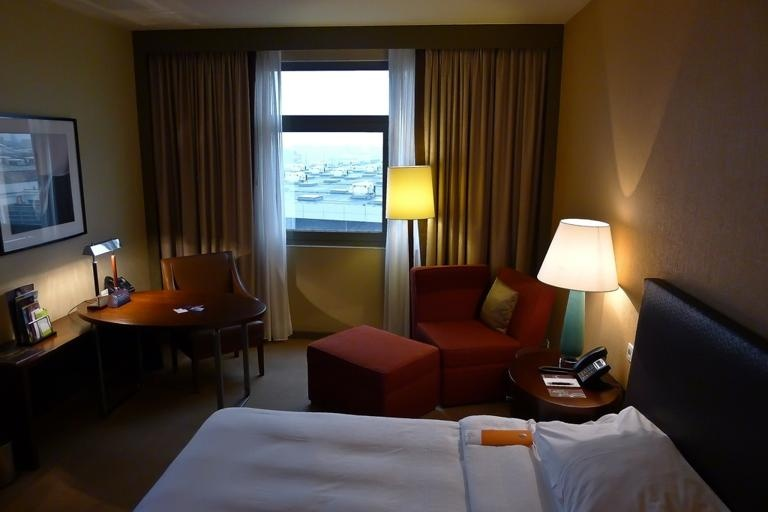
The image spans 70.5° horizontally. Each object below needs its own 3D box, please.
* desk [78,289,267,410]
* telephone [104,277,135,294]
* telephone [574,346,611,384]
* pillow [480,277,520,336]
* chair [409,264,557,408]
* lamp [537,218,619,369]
[{"bbox_3d":[-1.627,0.462,4.553,1.496,0.792,0.921,2,10,14],"label":"desk"},{"bbox_3d":[-2.334,0.259,4.781,0.217,0.146,0.168,-4,22,-22],"label":"telephone"},{"bbox_3d":[1.533,0.787,3.885,0.089,0.270,0.192,32,33,-36],"label":"telephone"},{"bbox_3d":[1.076,0.479,4.953,0.199,0.342,0.388,-10,24,-17],"label":"pillow"},{"bbox_3d":[0.773,0.627,5.223,1.284,1.400,1.192,1,2,-4],"label":"chair"},{"bbox_3d":[1.438,0.088,3.951,0.526,0.963,0.535,-8,15,-30],"label":"lamp"}]
